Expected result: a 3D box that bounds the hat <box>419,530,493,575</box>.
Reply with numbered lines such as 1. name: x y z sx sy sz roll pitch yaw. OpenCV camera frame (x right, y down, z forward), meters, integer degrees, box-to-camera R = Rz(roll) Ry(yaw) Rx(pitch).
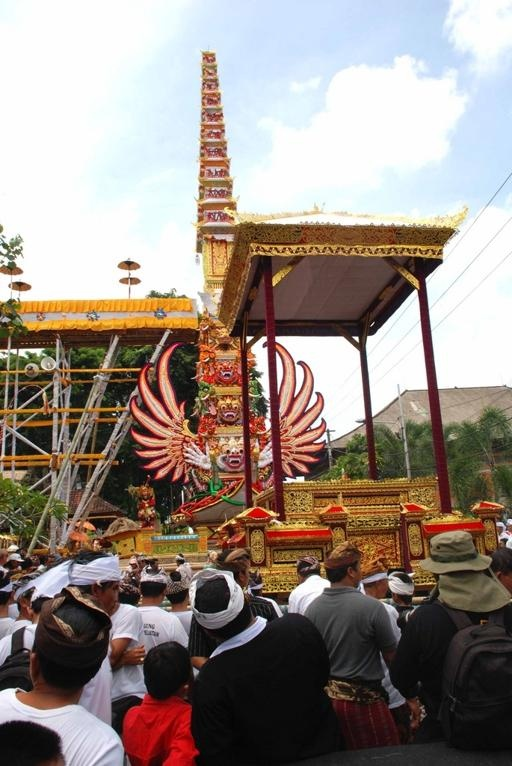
1. hat: 0.960 0.828 3.190 0.276 0.124 0.264 -6 -8 5
